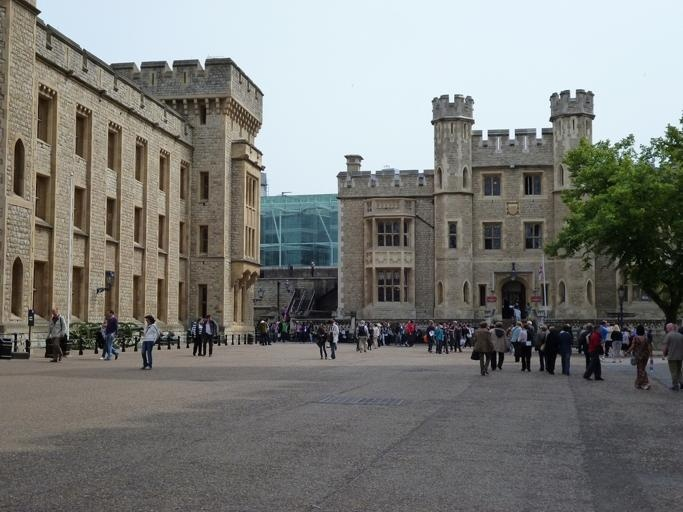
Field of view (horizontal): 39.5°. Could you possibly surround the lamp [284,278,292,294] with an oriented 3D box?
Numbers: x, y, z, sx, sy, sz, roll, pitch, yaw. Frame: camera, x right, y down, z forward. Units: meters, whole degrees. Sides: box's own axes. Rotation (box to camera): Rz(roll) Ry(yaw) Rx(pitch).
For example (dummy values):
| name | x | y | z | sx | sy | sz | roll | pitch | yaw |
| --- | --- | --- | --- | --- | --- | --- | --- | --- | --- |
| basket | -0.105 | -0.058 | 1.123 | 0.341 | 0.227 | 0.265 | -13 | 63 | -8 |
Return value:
| name | x | y | z | sx | sy | sz | roll | pitch | yaw |
| --- | --- | --- | --- | --- | --- | --- | --- | --- | --- |
| lamp | -4.064 | 2.330 | 76.019 | 0.223 | 0.879 | 0.901 | -2 | 8 | 6 |
